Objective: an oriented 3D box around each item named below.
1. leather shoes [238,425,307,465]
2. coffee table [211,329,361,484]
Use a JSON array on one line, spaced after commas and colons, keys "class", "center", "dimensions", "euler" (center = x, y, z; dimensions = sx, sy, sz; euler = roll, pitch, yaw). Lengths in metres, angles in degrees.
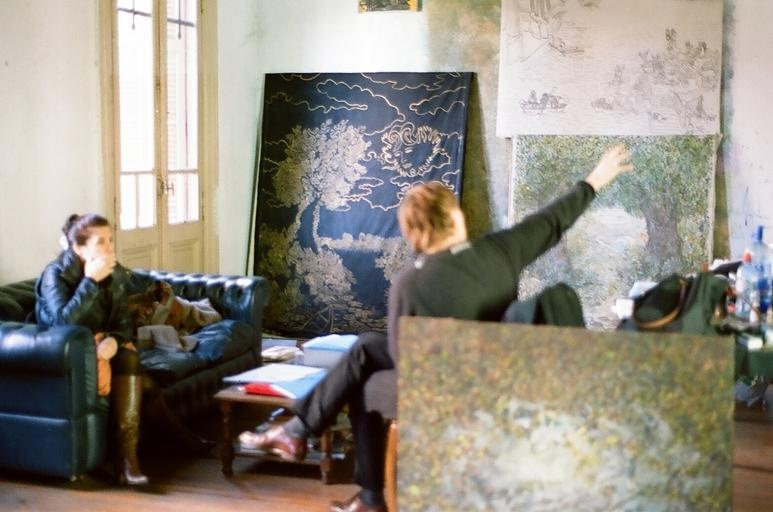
[{"class": "leather shoes", "center": [-0.606, 1.012, 3.965], "dimensions": [0.444, 0.188, 0.164], "euler": [13, -4, 25]}, {"class": "coffee table", "center": [-0.549, 0.830, 4.267], "dimensions": [0.758, 0.520, 0.870], "euler": [2, 0, 18]}]
